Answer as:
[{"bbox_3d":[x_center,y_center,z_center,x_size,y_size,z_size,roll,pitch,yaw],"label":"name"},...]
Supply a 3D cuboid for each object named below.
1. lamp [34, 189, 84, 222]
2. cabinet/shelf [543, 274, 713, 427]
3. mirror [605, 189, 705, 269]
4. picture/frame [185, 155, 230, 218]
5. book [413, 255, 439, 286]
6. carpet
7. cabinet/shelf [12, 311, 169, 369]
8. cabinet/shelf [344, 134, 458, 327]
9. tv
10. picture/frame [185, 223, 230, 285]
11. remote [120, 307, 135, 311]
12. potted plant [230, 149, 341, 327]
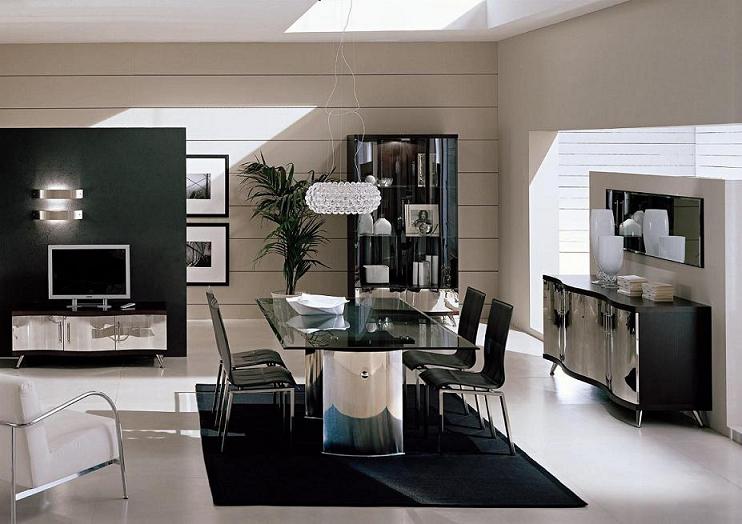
[{"bbox_3d":[-3.571,-0.610,7.059,0.532,0.377,0.292,-3,-10,-15],"label":"lamp"},{"bbox_3d":[2.531,0.790,6.400,0.730,1.030,2.246,-1,5,-4],"label":"cabinet/shelf"},{"bbox_3d":[2.697,-0.351,6.085,0.065,0.657,1.362,-7,11,-21],"label":"mirror"},{"bbox_3d":[-2.357,-1.109,8.799,0.946,1.015,0.068,0,5,-1],"label":"picture/frame"},{"bbox_3d":[0.756,0.116,8.371,0.369,0.532,0.382,2,2,25],"label":"book"},{"bbox_3d":[-0.006,1.479,5.006,2.866,0.099,1.731,0,10,0],"label":"carpet"},{"bbox_3d":[-3.156,0.847,7.065,1.712,0.678,0.605,0,4,-4],"label":"cabinet/shelf"},{"bbox_3d":[0.436,-0.405,8.392,1.337,2.599,0.359,3,27,8],"label":"cabinet/shelf"},{"bbox_3d":[-3.155,0.133,6.865,0.650,0.535,0.137,0,4,-3],"label":"tv"},{"bbox_3d":[-2.362,-0.135,8.833,0.829,0.958,0.063,0,-2,-4],"label":"picture/frame"},{"bbox_3d":[-2.693,0.524,6.820,0.136,0.018,0.080,-3,10,-21],"label":"remote"},{"bbox_3d":[-1.023,-0.181,8.552,1.206,1.869,1.065,-3,-7,41],"label":"potted plant"}]
